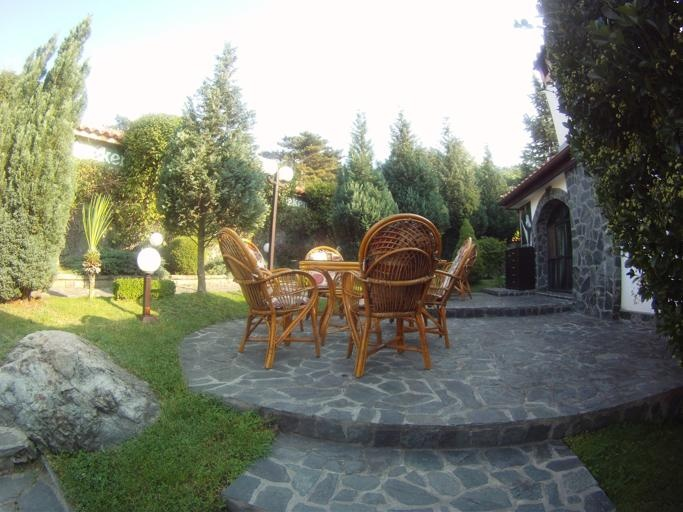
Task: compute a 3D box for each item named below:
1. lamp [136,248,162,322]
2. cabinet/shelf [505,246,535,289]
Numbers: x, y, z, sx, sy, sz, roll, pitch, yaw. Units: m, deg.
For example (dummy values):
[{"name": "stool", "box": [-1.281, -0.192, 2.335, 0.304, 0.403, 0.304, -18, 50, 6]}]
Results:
[{"name": "lamp", "box": [-3.151, 0.406, 7.893, 0.316, 1.088, 1.037, -2, 4, -22]}, {"name": "cabinet/shelf", "box": [4.454, 0.291, 11.887, 0.462, 1.056, 0.726, 0, 4, -7]}]
